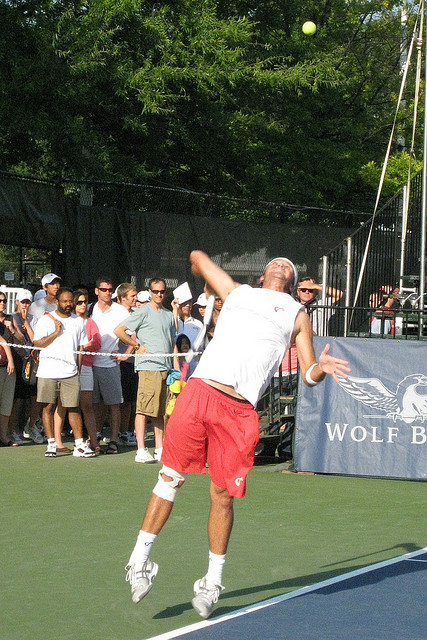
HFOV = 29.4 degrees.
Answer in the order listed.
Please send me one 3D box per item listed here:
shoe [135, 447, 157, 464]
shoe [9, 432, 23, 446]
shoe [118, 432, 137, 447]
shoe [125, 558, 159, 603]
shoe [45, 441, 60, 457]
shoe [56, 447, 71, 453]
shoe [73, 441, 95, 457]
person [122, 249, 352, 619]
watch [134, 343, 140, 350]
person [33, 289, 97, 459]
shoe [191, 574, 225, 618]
[{"bbox_3d":[-0.776,1.540,9.297,0.224,0.176,0.261,2,-2,-5],"label":"shoe"},{"bbox_3d":[-2.482,1.491,10.240,0.080,0.101,0.234,-3,17,-40],"label":"shoe"},{"bbox_3d":[-1.181,1.609,11.072,0.126,0.149,0.342,7,-7,-40],"label":"shoe"},{"bbox_3d":[-0.344,1.231,3.973,0.125,0.092,0.257,27,34,1],"label":"shoe"},{"bbox_3d":[-1.847,1.463,9.252,0.123,0.184,0.129,3,-2,-18],"label":"shoe"},{"bbox_3d":[-1.806,1.565,9.826,0.173,0.067,0.058,0,-1,-6],"label":"shoe"},{"bbox_3d":[-1.497,1.498,9.432,0.244,0.178,0.192,3,-2,-10],"label":"shoe"},{"bbox_3d":[0.087,0.539,4.107,0.988,1.802,0.627,2,-2,-6],"label":"person"},{"bbox_3d":[-0.907,0.313,9.696,0.024,0.064,0.067,41,-33,-16],"label":"watch"},{"bbox_3d":[-1.752,0.603,9.555,0.722,1.952,0.723,3,-2,-13],"label":"person"},{"bbox_3d":[-0.025,1.318,3.883,0.101,0.075,0.223,-33,7,-3],"label":"shoe"}]
